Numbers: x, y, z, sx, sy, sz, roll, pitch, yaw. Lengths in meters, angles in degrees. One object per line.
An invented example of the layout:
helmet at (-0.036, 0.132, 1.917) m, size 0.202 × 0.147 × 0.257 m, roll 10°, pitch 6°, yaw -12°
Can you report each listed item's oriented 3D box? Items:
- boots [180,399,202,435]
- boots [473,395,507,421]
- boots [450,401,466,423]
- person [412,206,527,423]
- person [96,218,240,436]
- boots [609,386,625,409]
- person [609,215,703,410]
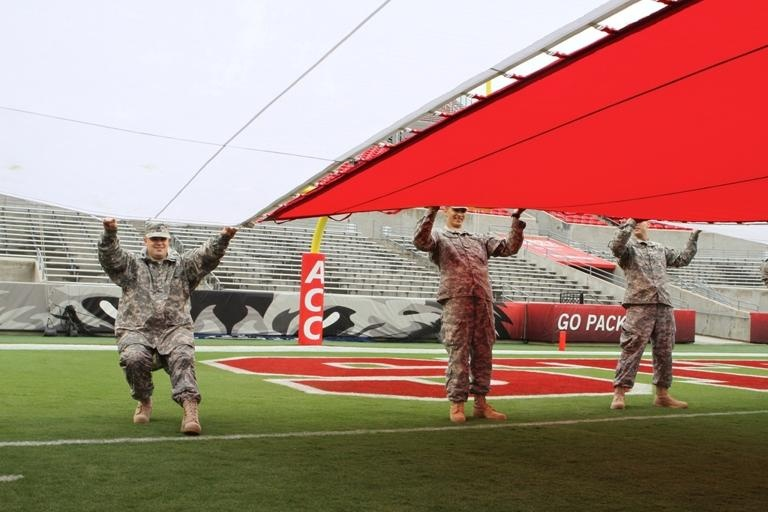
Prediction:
boots at (-1.670, 1.392, 4.425) m, size 0.157 × 0.271 × 0.286 m, roll 7°, pitch -6°, yaw -24°
boots at (1.136, 1.665, 5.541) m, size 0.489 × 0.244 × 0.170 m, roll -2°, pitch -4°, yaw 4°
boots at (0.798, 1.628, 5.314) m, size 0.157 × 0.193 × 0.276 m, roll 3°, pitch -5°, yaw 8°
person at (0.976, 0.599, 5.516) m, size 0.997 × 2.289 × 0.471 m, roll 4°, pitch -6°, yaw 7°
person at (-2.057, 0.604, 4.646) m, size 1.127 × 1.837 × 0.528 m, roll 4°, pitch -6°, yaw -1°
boots at (2.933, 1.751, 6.282) m, size 0.152 × 0.267 × 0.251 m, roll 1°, pitch -6°, yaw 29°
person at (3.426, 0.701, 6.490) m, size 1.443 × 2.427 × 0.686 m, roll 9°, pitch -8°, yaw -44°
